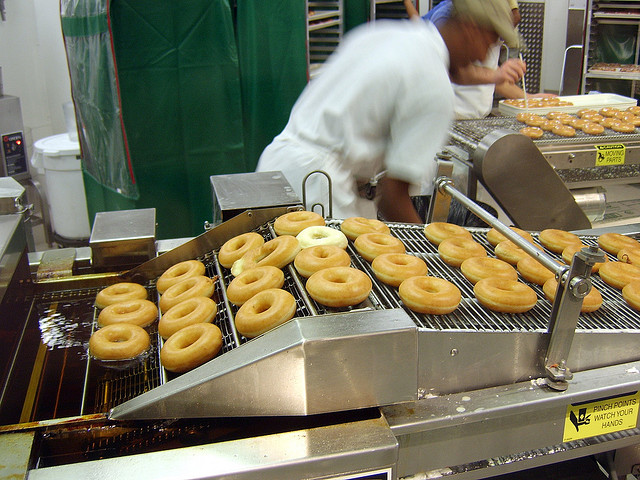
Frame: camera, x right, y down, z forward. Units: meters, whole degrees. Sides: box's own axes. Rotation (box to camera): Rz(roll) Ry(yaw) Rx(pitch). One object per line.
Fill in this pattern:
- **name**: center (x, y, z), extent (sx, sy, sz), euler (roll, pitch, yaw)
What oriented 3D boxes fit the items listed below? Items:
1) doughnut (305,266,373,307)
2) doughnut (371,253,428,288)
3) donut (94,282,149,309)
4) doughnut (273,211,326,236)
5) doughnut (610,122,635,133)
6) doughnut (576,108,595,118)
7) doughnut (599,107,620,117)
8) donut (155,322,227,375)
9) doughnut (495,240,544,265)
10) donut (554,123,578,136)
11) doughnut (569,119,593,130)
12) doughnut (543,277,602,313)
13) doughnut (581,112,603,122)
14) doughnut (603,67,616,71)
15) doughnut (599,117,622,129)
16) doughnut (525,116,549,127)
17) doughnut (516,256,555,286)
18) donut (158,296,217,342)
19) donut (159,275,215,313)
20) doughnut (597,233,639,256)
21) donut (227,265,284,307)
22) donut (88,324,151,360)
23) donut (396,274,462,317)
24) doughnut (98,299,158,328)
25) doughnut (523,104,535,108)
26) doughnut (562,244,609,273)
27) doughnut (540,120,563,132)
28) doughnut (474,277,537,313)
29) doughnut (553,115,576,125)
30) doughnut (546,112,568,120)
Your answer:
- **doughnut**: center (0.059, 0.155, 1.565), extent (0.200, 0.086, 0.214), euler (0, 20, 21)
- **doughnut**: center (0.263, 0.104, 1.678), extent (0.165, 0.072, 0.168), euler (8, 21, 7)
- **donut**: center (-0.771, 0.208, 1.838), extent (0.116, 0.048, 0.123), euler (0, 16, 7)
- **doughnut**: center (-0.084, -0.073, 1.922), extent (0.122, 0.050, 0.126), euler (6, 22, 34)
- **doughnut**: center (1.963, -0.720, 3.065), extent (0.091, 0.033, 0.096), euler (-2, 18, 3)
- **doughnut**: center (1.920, -0.906, 3.433), extent (0.113, 0.040, 0.118), euler (-2, 21, 27)
- **doughnut**: center (2.094, -0.931, 3.472), extent (0.102, 0.037, 0.108), euler (-5, 19, 6)
- **donut**: center (-0.401, 0.334, 1.481), extent (0.157, 0.068, 0.166), euler (-18, 14, 10)
- **doughnut**: center (0.727, 0.051, 1.815), extent (0.097, 0.035, 0.103), euler (3, 24, 2)
- **donut**: center (1.571, -0.695, 3.041), extent (0.117, 0.039, 0.124), euler (-6, 28, 4)
- **doughnut**: center (1.751, -0.780, 3.215), extent (0.095, 0.035, 0.100), euler (-4, 14, 1)
- **doughnut**: center (0.832, 0.181, 1.570), extent (0.134, 0.053, 0.142), euler (6, 33, 12)
- **doughnut**: center (1.900, -0.852, 3.316), extent (0.115, 0.042, 0.122), euler (-2, 20, 5)
- **doughnut**: center (2.815, -1.638, 4.612), extent (0.072, 0.042, 0.108), euler (-21, 26, -39)
- **doughnut**: center (1.950, -0.793, 3.219), extent (0.097, 0.035, 0.102), euler (-4, 16, 9)
- **doughnut**: center (1.438, -0.793, 3.190), extent (0.100, 0.036, 0.105), euler (-4, 16, -3)
- **doughnut**: center (0.805, 0.091, 1.735), extent (0.148, 0.054, 0.155), euler (13, 29, 32)
- **donut**: center (-0.458, 0.269, 1.655), extent (0.201, 0.076, 0.210), euler (-19, 22, -2)
- **donut**: center (-0.514, 0.195, 1.802), extent (0.223, 0.084, 0.222), euler (-1, -4, 41)
- **doughnut**: center (1.211, 0.013, 1.946), extent (0.111, 0.041, 0.118), euler (0, 20, 7)
- **donut**: center (-0.233, 0.166, 1.654), extent (0.196, 0.082, 0.202), euler (-29, 21, -21)
- **donut**: center (-0.683, 0.348, 1.620), extent (0.191, 0.080, 0.114), euler (-2, 19, 6)
- **donut**: center (0.357, 0.184, 1.547), extent (0.200, 0.085, 0.202), euler (-12, 21, -36)
- **doughnut**: center (-0.702, 0.280, 1.743), extent (0.164, 0.072, 0.170), euler (11, 25, 37)
- **doughnut**: center (1.527, -0.970, 3.482), extent (0.050, 0.014, 0.052), euler (6, 19, 35)
- **doughnut**: center (0.819, 0.062, 1.475), extent (0.086, 0.031, 0.090), euler (-8, 32, -6)
- **doughnut**: center (1.515, -0.742, 3.137), extent (0.105, 0.037, 0.104), euler (-26, 25, -28)
- **doughnut**: center (0.609, 0.184, 1.576), extent (0.199, 0.080, 0.205), euler (-2, 17, -9)
- **doughnut**: center (1.686, -0.830, 3.296), extent (0.120, 0.042, 0.120), euler (-16, 20, -35)
- **doughnut**: center (1.677, -0.890, 3.410), extent (0.115, 0.040, 0.113), euler (-20, 21, -41)
